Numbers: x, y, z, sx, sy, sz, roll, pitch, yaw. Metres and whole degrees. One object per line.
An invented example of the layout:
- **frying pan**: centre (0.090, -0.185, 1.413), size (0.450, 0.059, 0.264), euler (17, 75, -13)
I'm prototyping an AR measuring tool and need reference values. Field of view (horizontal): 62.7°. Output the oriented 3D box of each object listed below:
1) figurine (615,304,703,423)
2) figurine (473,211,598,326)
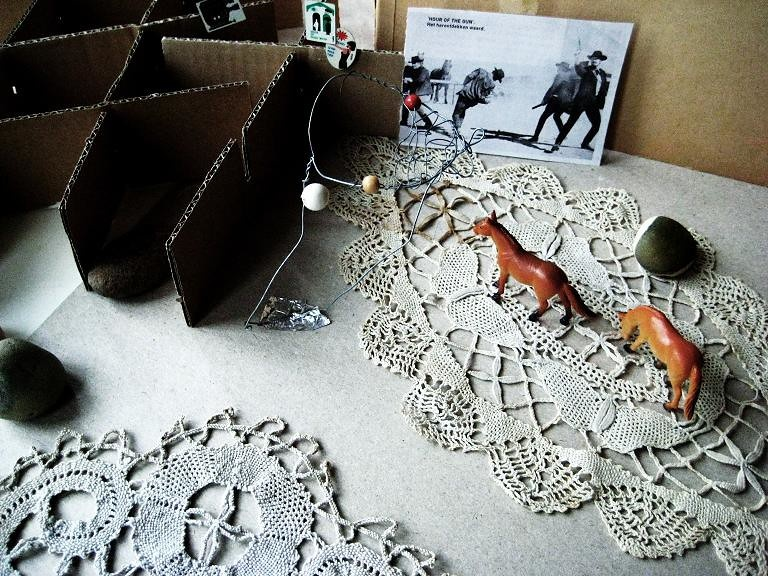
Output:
- **figurine**: centre (0.660, 0.155, 1.481), size (0.067, 0.166, 0.304), euler (-8, 39, -11)
- **figurine**: centre (0.386, -0.037, 1.609), size (0.058, 0.159, 0.257), euler (-38, 63, -16)
